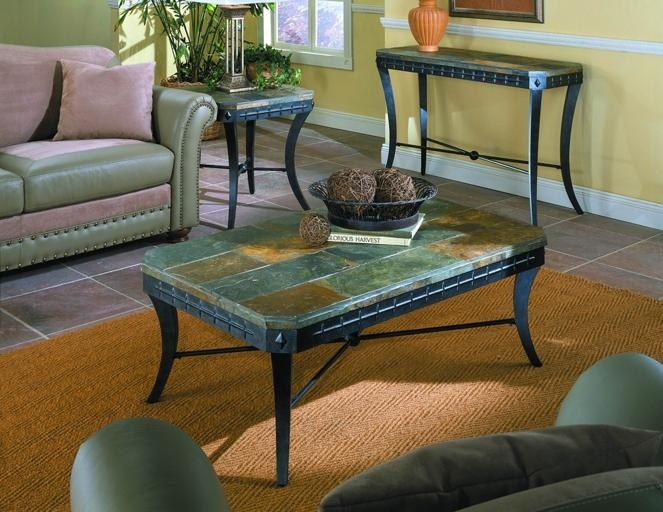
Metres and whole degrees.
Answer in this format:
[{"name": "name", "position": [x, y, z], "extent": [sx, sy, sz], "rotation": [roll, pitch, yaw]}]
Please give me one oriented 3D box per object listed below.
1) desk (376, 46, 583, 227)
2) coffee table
[{"name": "desk", "position": [1.139, -0.878, 3.884], "extent": [0.679, 0.928, 1.786], "rotation": [-24, 31, -34]}, {"name": "coffee table", "position": [0.058, 0.115, 2.098], "extent": [1.231, 0.353, 0.756], "rotation": [-18, 30, -35]}]
